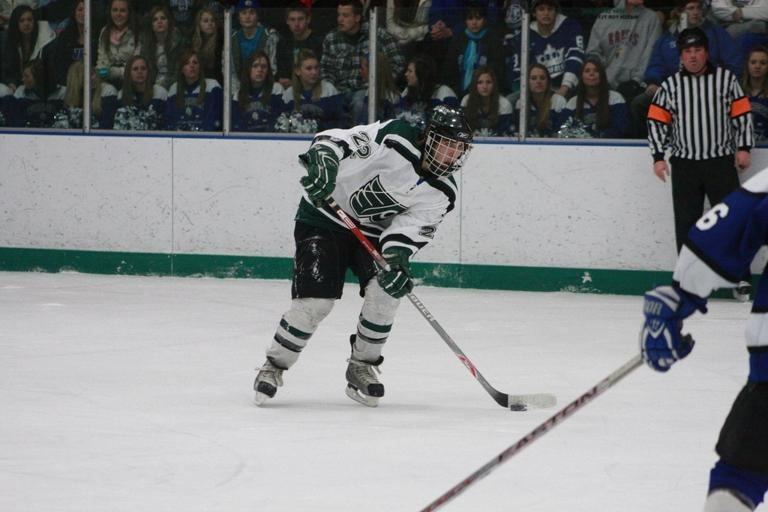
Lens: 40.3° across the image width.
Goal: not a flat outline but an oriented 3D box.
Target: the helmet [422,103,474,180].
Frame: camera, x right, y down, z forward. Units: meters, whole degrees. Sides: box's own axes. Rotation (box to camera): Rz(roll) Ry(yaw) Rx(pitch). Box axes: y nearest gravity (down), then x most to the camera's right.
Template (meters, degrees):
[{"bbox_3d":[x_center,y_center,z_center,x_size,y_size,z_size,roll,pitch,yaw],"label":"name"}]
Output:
[{"bbox_3d":[0.306,-0.570,5.227,0.237,0.349,0.115,0,13,-1],"label":"helmet"}]

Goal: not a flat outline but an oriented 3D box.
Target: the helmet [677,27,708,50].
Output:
[{"bbox_3d":[2.088,-1.486,7.126,0.164,0.156,0.208,6,17,22],"label":"helmet"}]

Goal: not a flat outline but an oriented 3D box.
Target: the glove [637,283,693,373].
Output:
[{"bbox_3d":[1.093,0.268,4.028,0.265,0.277,0.124,10,17,34],"label":"glove"}]

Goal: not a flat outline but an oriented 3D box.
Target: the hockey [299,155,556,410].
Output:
[{"bbox_3d":[0.274,0.153,6.056,1.882,0.227,0.276,48,1,18],"label":"hockey"}]

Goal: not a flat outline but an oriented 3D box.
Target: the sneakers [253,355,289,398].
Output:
[{"bbox_3d":[-0.577,0.605,5.208,0.131,0.095,0.278,-18,30,18],"label":"sneakers"}]

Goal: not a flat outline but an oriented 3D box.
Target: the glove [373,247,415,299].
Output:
[{"bbox_3d":[0.047,0.076,5.230,0.193,0.231,0.115,0,-5,6],"label":"glove"}]

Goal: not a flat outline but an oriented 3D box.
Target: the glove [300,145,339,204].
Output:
[{"bbox_3d":[-0.328,-0.405,5.145,0.139,0.201,0.265,-1,41,-26],"label":"glove"}]
